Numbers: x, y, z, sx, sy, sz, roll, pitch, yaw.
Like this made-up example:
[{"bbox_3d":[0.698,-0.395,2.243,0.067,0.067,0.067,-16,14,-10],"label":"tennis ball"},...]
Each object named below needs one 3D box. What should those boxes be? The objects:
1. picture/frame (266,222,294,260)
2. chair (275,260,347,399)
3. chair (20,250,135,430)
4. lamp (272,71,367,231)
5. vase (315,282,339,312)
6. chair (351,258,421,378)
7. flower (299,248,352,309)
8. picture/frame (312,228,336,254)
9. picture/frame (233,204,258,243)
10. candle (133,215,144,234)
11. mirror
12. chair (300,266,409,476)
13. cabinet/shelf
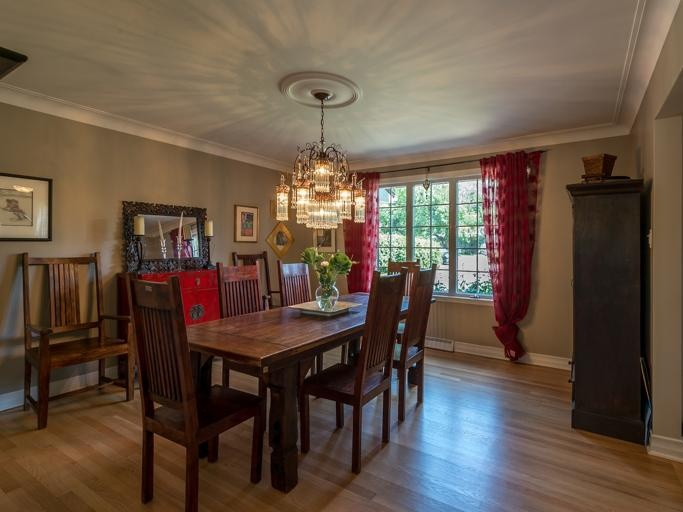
[{"bbox_3d":[-0.900,-0.226,6.736,0.013,0.377,0.395,13,-28,34],"label":"picture/frame"},{"bbox_3d":[-0.369,0.472,4.703,0.392,0.784,0.446,-5,-2,-26],"label":"chair"},{"bbox_3d":[-2.461,0.664,4.373,0.956,1.406,0.892,-10,17,-37],"label":"chair"},{"bbox_3d":[-0.195,-0.929,4.487,0.818,1.265,0.843,0,4,-3],"label":"lamp"},{"bbox_3d":[-0.151,0.352,4.128,0.207,0.261,0.212,-1,0,-13],"label":"vase"},{"bbox_3d":[0.524,0.520,5.266,0.865,1.616,0.866,0,-2,22],"label":"chair"},{"bbox_3d":[-0.120,0.231,4.152,0.471,0.536,0.393,-16,10,-6],"label":"flower"},{"bbox_3d":[-0.241,-0.225,6.836,0.364,0.414,0.028,-2,-5,35],"label":"picture/frame"},{"bbox_3d":[-1.280,-0.435,6.222,0.040,0.604,0.490,-3,-3,34],"label":"picture/frame"},{"bbox_3d":[-2.134,-0.320,4.984,0.108,0.208,0.099,-7,16,-28],"label":"candle"},{"bbox_3d":[-1.969,-0.213,5.436,0.843,0.796,0.051,0,21,-12],"label":"mirror"},{"bbox_3d":[0.086,0.840,3.764,0.668,1.439,0.650,5,5,38],"label":"chair"},{"bbox_3d":[2.296,0.417,4.118,0.629,2.147,0.664,-6,10,-5],"label":"cabinet/shelf"}]
